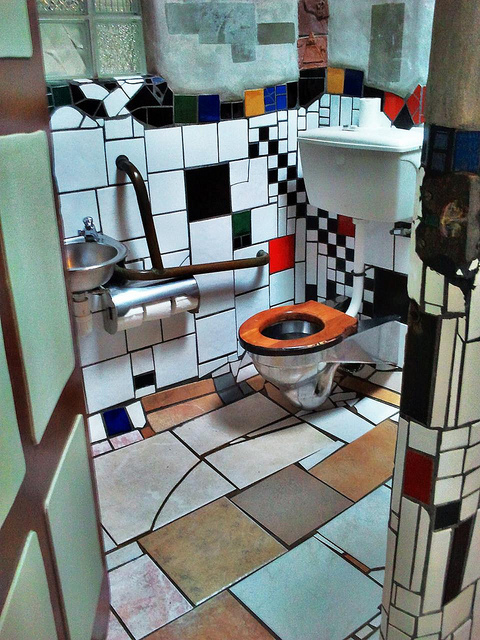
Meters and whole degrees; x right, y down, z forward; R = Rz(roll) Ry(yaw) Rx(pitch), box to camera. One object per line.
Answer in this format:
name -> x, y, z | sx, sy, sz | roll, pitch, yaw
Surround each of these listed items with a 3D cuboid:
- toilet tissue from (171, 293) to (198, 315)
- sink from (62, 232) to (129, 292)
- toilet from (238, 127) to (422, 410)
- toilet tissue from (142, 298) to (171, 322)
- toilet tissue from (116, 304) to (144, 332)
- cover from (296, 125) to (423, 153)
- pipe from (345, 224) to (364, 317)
toilet tissue -> -0.227, -0.073, 2.004 | 0.139, 0.085, 0.030 | -22, 25, -37
sink -> -0.508, -0.214, 1.730 | 0.205, 0.164, 0.353 | -12, 22, -18
toilet -> 0.337, -0.196, 2.057 | 0.713, 1.145, 0.506 | -20, 31, -31
toilet tissue -> -0.342, -0.041, 1.965 | 0.104, 0.102, 0.078 | -24, 28, -23
toilet tissue -> -0.419, -0.014, 1.869 | 0.108, 0.090, 0.033 | -15, 21, -26
cover -> 0.471, -0.713, 1.912 | 0.222, 0.106, 0.502 | -20, 25, -34
pipe -> 0.527, -0.233, 2.214 | 0.061, 0.388, 0.096 | -3, 22, -12
